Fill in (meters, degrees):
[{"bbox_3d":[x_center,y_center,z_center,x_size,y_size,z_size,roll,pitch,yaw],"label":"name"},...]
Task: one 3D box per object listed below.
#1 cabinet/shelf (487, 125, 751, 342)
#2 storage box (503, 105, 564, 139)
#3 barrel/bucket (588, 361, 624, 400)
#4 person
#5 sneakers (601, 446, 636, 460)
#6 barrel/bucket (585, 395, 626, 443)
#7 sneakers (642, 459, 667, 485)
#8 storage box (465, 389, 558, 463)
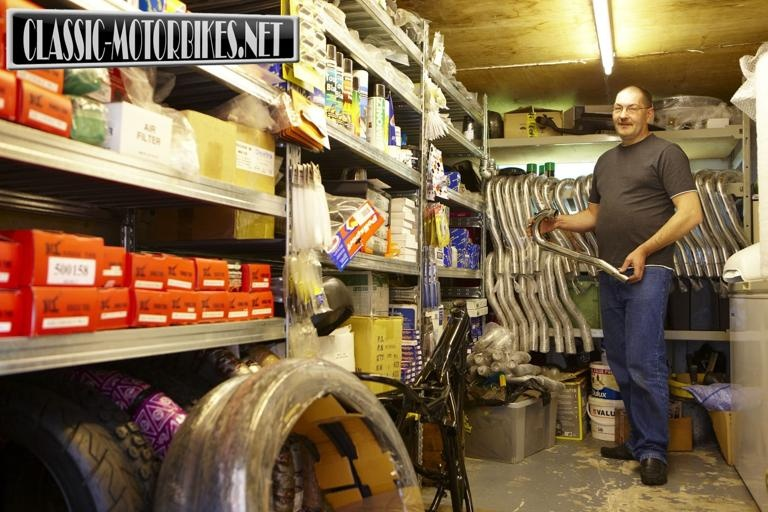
[{"bbox_3d":[1.676,-0.112,3.941,1.941,1.990,0.635,0,-13,7],"label":"cabinet/shelf"},{"bbox_3d":[1.281,-1.195,5.017,0.511,0.266,0.472,-2,4,7],"label":"storage box"},{"bbox_3d":[1.588,0.946,4.188,0.263,0.256,0.248,3,-19,1],"label":"barrel/bucket"},{"bbox_3d":[1.592,0.116,3.516,0.434,2.349,0.766,1,-3,-6],"label":"person"},{"bbox_3d":[1.505,1.250,3.598,0.216,0.079,0.077,6,4,29],"label":"sneakers"},{"bbox_3d":[1.673,1.210,4.133,0.298,0.270,0.307,5,-6,1],"label":"barrel/bucket"},{"bbox_3d":[1.551,1.216,3.182,0.138,0.115,0.245,0,-3,25],"label":"sneakers"},{"bbox_3d":[0.814,1.124,3.768,0.715,0.308,0.693,-1,-6,3],"label":"storage box"}]
